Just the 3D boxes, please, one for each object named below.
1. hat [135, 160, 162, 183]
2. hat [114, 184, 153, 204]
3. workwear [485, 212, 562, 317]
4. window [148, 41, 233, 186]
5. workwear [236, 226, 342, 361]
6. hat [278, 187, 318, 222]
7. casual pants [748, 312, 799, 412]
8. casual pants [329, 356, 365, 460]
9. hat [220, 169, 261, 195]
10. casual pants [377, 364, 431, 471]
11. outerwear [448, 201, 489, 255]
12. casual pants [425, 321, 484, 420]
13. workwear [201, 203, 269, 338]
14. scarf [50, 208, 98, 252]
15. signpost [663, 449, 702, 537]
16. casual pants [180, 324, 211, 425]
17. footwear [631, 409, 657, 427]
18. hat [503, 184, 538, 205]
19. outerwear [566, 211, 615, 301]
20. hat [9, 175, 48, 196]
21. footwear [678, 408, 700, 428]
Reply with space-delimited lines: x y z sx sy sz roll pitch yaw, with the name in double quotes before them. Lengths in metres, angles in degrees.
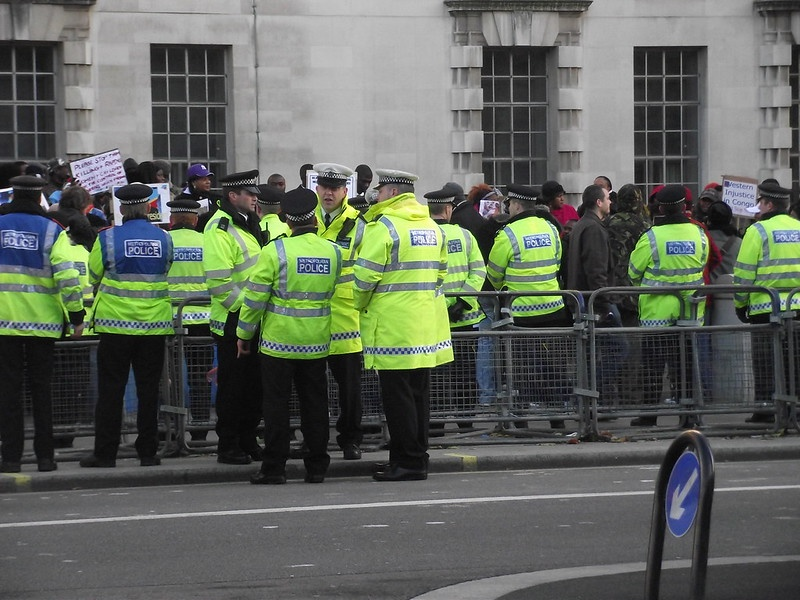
"hat" -3.204 -1.661 22.277 0.312 0.309 0.270 1 1 -3
"hat" -2.738 -1.109 17.941 0.367 0.201 0.268 -3 1 -9
"workwear" 1.395 -0.372 19.532 1.128 1.308 0.780 -3 9 -10
"window" -3.435 -3.509 28.172 1.469 0.229 2.767 -1 -16 -7
"workwear" -1.070 -0.037 17.144 1.312 1.435 0.869 -1 10 -22
"hat" -0.989 -0.954 17.142 0.351 0.309 0.336 -3 1 -3
"casual pants" 4.125 0.663 19.215 0.593 0.880 0.186 -4 3 8
"casual pants" -0.542 1.018 17.997 0.373 1.251 0.360 -5 7 -20
"hat" -1.621 -1.234 17.872 0.307 0.157 0.259 1 3 17
"casual pants" 0.064 1.230 17.327 0.565 0.948 0.407 -3 1 -13
"outerwear" 0.868 -0.886 20.718 0.243 0.554 0.554 14 39 41
"casual pants" 0.567 0.764 18.457 0.637 1.077 1.120 -1 -2 28
"workwear" -1.689 -0.359 17.958 0.685 1.209 1.002 6 17 8
"scarf" -3.665 -0.807 19.220 0.260 0.428 0.222 -7 11 44
"signpost" 1.990 1.379 12.346 0.148 0.489 0.327 -3 1 -32
"casual pants" -2.120 0.856 18.528 0.294 0.909 0.132 -3 1 -7
"footwear" 2.682 1.343 19.438 0.364 0.244 0.117 2 3 11
"hat" 1.344 -1.218 19.531 0.325 0.120 0.265 -1 8 21
"outerwear" 2.180 -0.481 19.808 0.510 0.871 0.962 -3 8 -12
"hat" -3.767 -1.205 17.700 0.457 0.176 0.342 -2 1 12
"footwear" 3.237 1.358 19.468 0.202 0.208 0.152 0 -2 12
